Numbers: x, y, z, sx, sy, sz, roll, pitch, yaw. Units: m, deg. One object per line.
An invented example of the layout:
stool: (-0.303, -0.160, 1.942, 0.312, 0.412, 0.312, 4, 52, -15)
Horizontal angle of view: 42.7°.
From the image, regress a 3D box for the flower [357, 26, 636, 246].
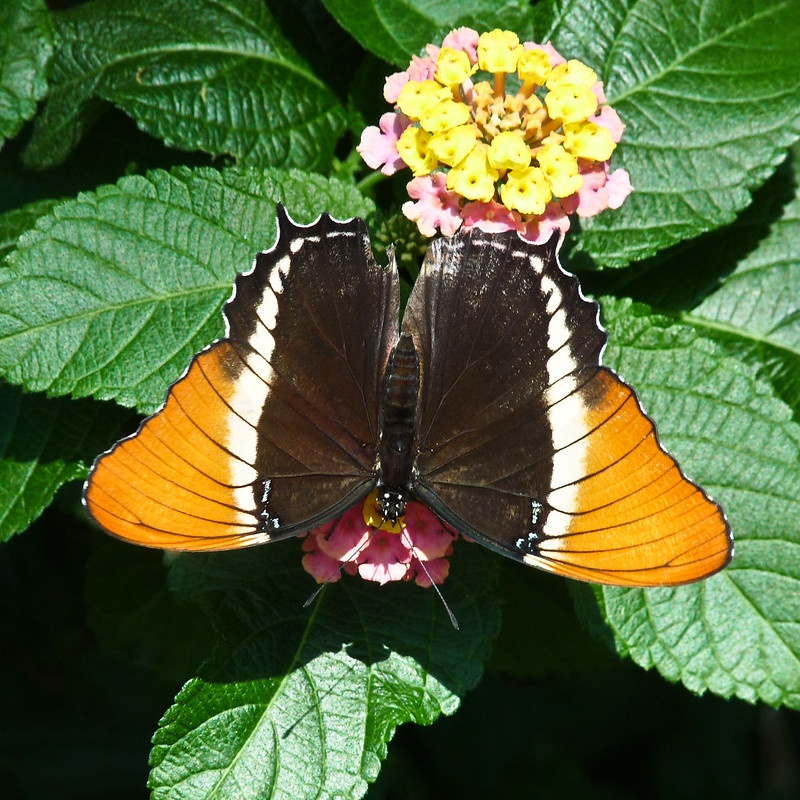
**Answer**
flower: (0.222, -0.609, 2.367, 0.566, 0.198, 0.554, -25, 73, -12)

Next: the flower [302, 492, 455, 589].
flower: (-0.041, 0.346, 2.418, 0.315, 0.085, 0.205, 2, 76, -4)
